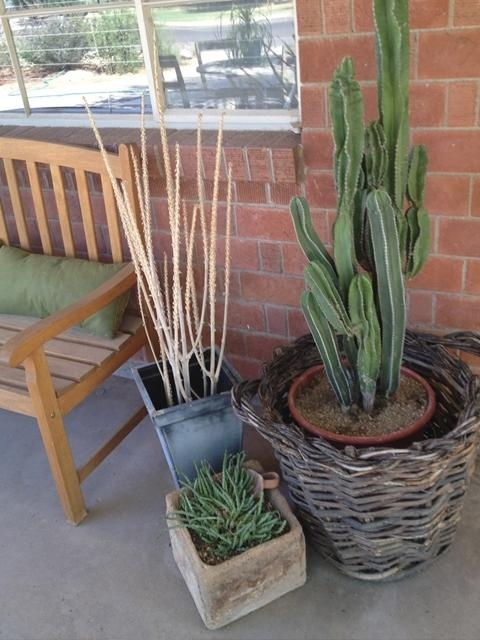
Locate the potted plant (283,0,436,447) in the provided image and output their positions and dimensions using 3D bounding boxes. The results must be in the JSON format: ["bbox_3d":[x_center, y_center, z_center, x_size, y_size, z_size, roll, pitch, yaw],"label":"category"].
[{"bbox_3d":[0.202,-0.166,1.070,0.305,0.772,0.434,-1,27,21],"label":"potted plant"}]

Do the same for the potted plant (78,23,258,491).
[{"bbox_3d":[-0.166,-0.155,1.439,0.376,0.999,0.754,-11,25,2],"label":"potted plant"}]

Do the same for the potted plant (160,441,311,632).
[{"bbox_3d":[0.010,0.453,1.187,0.283,0.171,0.262,-15,34,-20],"label":"potted plant"}]
